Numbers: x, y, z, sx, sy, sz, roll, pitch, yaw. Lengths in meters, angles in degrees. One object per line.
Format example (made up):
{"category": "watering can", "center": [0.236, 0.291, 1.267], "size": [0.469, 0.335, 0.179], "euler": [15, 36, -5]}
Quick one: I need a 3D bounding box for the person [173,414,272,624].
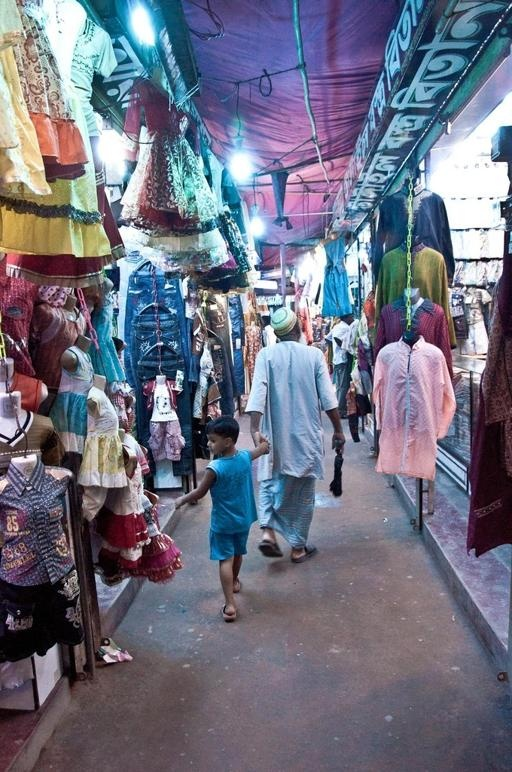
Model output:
{"category": "person", "center": [-0.172, 0.702, 2.733], "size": [0.292, 1.073, 0.705], "euler": [-2, 0, 20]}

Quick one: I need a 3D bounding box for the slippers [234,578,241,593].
{"category": "slippers", "center": [-0.108, 1.188, 2.962], "size": [0.026, 0.031, 0.079], "euler": [2, 17, 2]}

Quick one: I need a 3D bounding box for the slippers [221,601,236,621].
{"category": "slippers", "center": [-0.136, 1.191, 2.616], "size": [0.077, 0.088, 0.087], "euler": [-2, 0, -5]}

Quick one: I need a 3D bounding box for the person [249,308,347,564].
{"category": "person", "center": [0.262, 0.325, 3.349], "size": [0.629, 1.712, 0.479], "euler": [-2, 0, -2]}

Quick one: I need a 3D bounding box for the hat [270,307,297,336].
{"category": "hat", "center": [0.195, -0.440, 3.409], "size": [0.168, 0.194, 0.088], "euler": [-11, -18, 27]}

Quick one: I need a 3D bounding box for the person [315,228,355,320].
{"category": "person", "center": [1.271, -1.703, 7.813], "size": [0.439, 1.288, 0.760], "euler": [-2, 0, 10]}

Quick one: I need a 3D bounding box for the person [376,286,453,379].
{"category": "person", "center": [1.029, -0.332, 3.161], "size": [0.515, 0.773, 0.233], "euler": [-1, 8, 16]}
